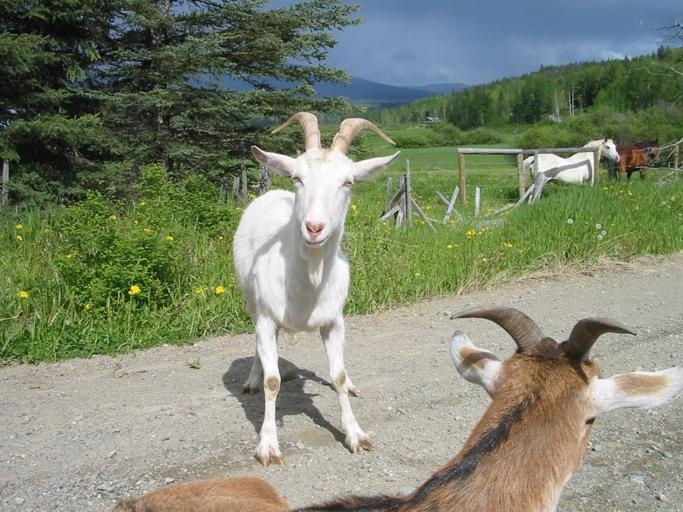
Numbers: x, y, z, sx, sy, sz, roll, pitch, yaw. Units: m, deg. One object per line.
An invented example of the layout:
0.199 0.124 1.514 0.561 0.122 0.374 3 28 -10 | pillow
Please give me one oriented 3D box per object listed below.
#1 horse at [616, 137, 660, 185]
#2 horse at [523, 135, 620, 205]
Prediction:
11.781 -3.670 23.235 2.740 1.668 0.654 -9 5 -18 | horse
8.227 -2.954 20.929 3.981 2.387 0.904 -6 6 -11 | horse
